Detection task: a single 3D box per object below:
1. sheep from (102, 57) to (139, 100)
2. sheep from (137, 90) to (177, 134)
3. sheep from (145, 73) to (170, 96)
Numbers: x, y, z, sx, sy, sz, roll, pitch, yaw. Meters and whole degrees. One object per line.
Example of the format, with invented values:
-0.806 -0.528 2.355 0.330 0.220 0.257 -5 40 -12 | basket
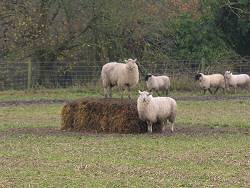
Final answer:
-0.173 -0.821 29.398 1.037 2.033 2.520 -5 6 -42 | sheep
1.388 0.799 26.825 0.984 1.884 2.755 8 4 38 | sheep
2.138 -0.542 38.453 2.440 1.620 0.775 -3 5 -44 | sheep
